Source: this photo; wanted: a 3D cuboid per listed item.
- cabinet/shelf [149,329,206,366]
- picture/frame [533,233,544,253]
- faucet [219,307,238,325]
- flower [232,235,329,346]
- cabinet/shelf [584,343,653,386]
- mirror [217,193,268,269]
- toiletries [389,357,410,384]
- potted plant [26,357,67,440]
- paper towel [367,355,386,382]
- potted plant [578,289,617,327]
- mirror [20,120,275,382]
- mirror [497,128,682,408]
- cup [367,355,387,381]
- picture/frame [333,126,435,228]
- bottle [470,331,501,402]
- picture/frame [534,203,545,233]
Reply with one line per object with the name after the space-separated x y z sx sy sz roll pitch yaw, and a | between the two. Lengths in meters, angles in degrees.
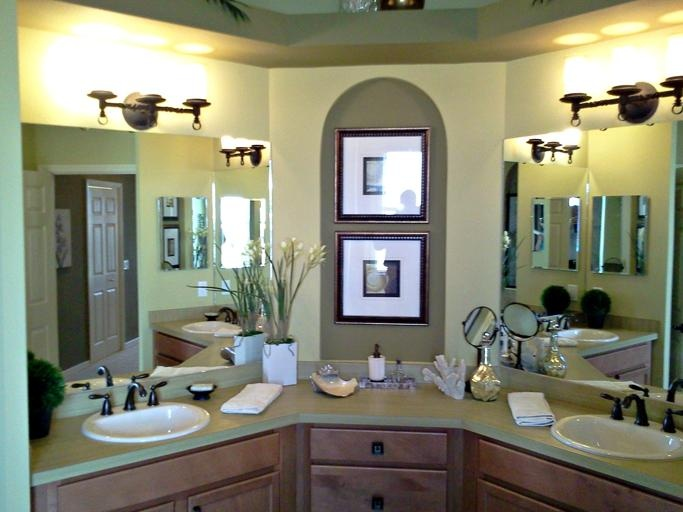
-0.906 0.427 3.170 0.308 0.299 0.155 1 -1 -39 | cabinet/shelf
1.118 -0.075 3.226 0.077 0.135 0.082 -1 0 31 | picture/frame
-0.659 0.349 3.310 0.107 0.099 0.065 0 0 -3 | faucet
-0.414 0.204 3.570 0.596 0.635 0.487 0 -3 -18 | flower
1.449 0.549 2.968 0.180 0.278 0.270 2 -3 -31 | cabinet/shelf
-0.599 -0.148 3.358 0.415 0.605 0.025 -2 5 -32 | mirror
0.349 0.691 3.399 0.111 0.169 0.104 0 -1 22 | toiletries
-1.373 0.664 2.646 0.146 0.354 0.107 -3 5 -24 | potted plant
0.207 0.659 3.335 0.123 0.146 0.126 -2 -3 36 | paper towel
1.357 0.277 3.080 0.165 0.201 0.177 1 -4 -2 | potted plant
-1.083 -0.020 3.047 1.435 1.065 0.117 -3 5 -39 | mirror
1.351 -0.022 3.062 0.779 1.333 0.119 3 6 38 | mirror
0.208 0.656 3.336 0.122 0.146 0.125 0 -3 0 | cup
0.286 -0.506 3.470 0.579 0.591 0.047 1 1 -1 | picture/frame
0.828 0.627 3.240 0.158 0.324 0.310 1 5 18 | bottle
1.119 -0.225 3.216 0.027 0.123 0.117 -1 -1 -9 | picture/frame
